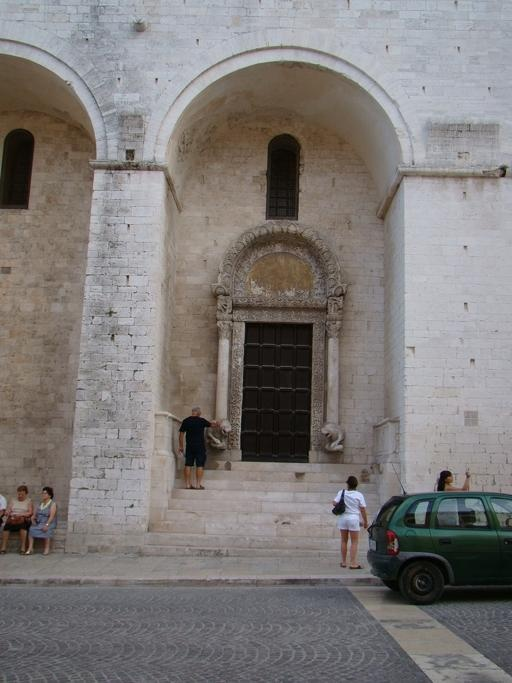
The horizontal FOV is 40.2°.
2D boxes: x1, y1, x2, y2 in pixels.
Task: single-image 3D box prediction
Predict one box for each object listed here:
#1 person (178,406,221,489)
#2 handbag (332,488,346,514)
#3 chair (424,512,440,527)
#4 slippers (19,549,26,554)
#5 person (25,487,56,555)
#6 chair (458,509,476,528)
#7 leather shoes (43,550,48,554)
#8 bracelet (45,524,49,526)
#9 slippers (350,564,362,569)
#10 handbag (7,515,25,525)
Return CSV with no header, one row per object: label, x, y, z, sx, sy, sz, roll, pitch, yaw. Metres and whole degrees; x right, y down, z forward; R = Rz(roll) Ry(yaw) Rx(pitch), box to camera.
person,-1.141,1.995,13.355,0.654,1.476,1.057,2,-7,-3
handbag,1.131,2.176,9.489,0.158,0.346,0.174,1,-7,8
chair,1.870,1.872,7.461,0.135,0.120,0.234,1,-1,10
slippers,-3.727,3.335,11.140,0.086,0.082,0.094,1,1,-3
person,-3.455,2.868,11.258,0.422,1.015,0.535,4,-7,-13
chair,2.241,1.870,7.459,0.169,0.123,0.171,-15,-29,1
leather shoes,-3.326,3.301,11.037,0.062,0.061,0.150,4,-6,-19
bracelet,-3.332,2.890,11.134,0.021,0.030,0.027,2,-44,-9
slippers,1.338,2.986,9.381,0.140,0.034,0.060,-4,-4,23
handbag,-3.890,2.867,11.298,0.233,0.148,0.158,2,-42,2
